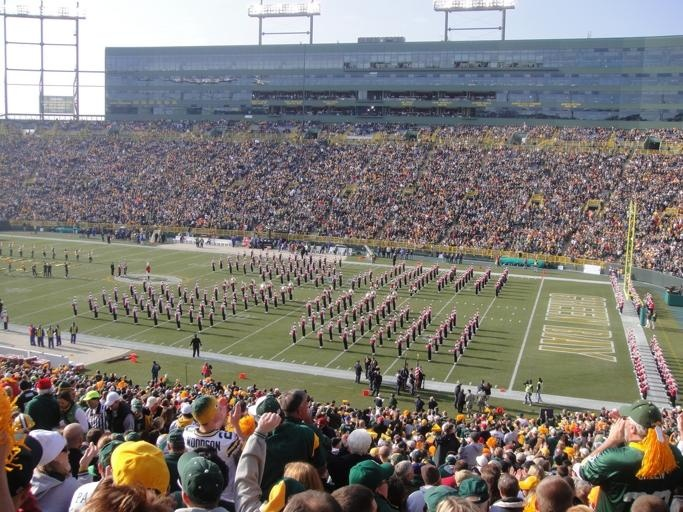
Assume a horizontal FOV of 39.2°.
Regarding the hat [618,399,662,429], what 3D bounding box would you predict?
[{"bbox_3d":[8.427,4.436,27.099,0.939,0.583,0.679,14,23,42],"label":"hat"}]
